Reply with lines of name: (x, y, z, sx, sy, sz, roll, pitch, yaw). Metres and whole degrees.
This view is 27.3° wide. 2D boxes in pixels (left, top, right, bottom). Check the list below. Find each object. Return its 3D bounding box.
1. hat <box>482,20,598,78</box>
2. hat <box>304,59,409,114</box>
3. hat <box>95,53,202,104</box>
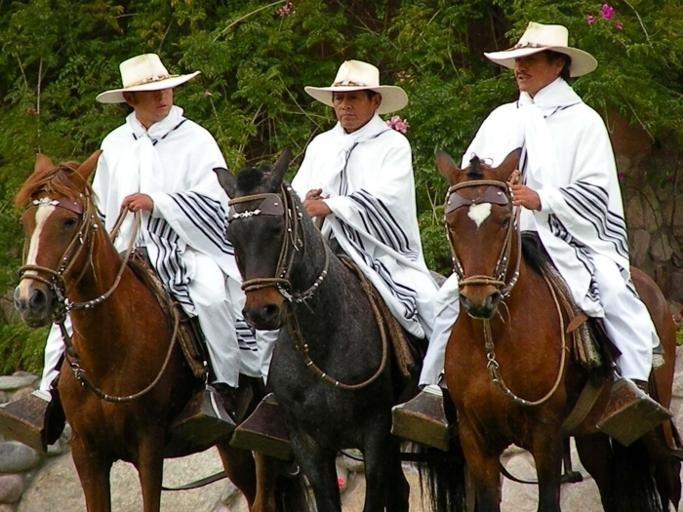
hat: (1.679, -1.785, 11.689, 0.846, 0.272, 0.741, 0, 11, -18)
hat: (0.113, -1.474, 12.076, 0.901, 0.309, 0.883, 4, -8, 7)
hat: (-1.701, -1.577, 12.176, 0.783, 0.272, 0.812, -20, 17, -36)
